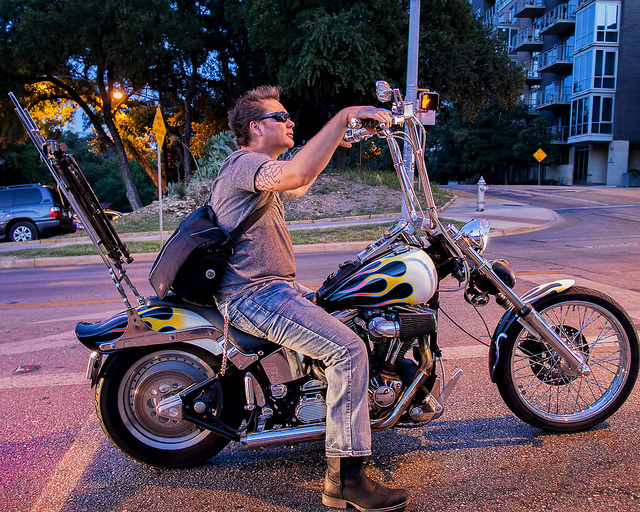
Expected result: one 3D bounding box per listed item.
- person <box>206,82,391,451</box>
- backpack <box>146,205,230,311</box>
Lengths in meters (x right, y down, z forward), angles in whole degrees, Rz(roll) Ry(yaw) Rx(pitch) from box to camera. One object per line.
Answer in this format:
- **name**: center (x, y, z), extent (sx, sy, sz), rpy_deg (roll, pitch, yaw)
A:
- **person**: center (-0.150, 0.131, 3.450), extent (1.078, 2.347, 0.619), rpy_deg (3, 11, 25)
- **backpack**: center (-0.797, -0.029, 3.453), extent (0.318, 0.600, 0.578), rpy_deg (18, 2, -39)
